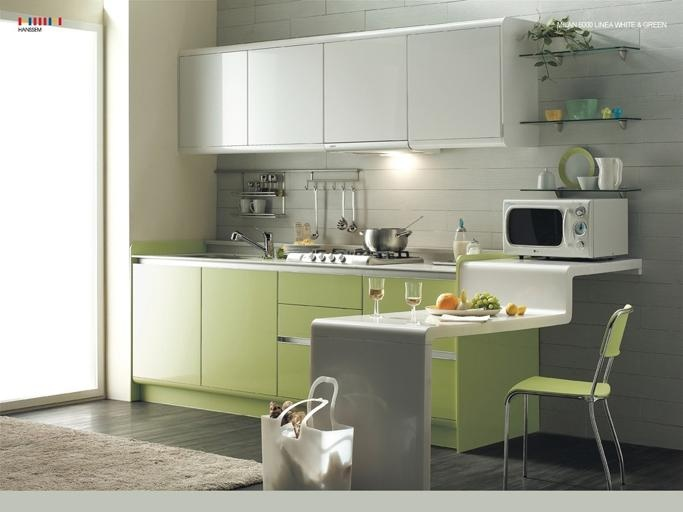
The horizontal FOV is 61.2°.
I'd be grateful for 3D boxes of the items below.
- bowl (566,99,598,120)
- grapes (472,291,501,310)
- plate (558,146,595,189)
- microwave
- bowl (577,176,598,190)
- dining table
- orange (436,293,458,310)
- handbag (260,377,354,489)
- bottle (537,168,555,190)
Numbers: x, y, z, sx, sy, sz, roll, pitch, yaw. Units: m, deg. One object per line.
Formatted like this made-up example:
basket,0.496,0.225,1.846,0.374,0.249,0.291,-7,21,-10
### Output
bowl,1.796,-1.068,4.322,0.195,0.110,0.190,1,4,0
grapes,0.777,0.241,3.080,0.106,0.059,0.102,7,-7,12
plate,1.773,-0.671,4.400,0.301,0.293,0.045,16,16,38
microwave,1.591,-0.199,4.022,0.885,0.420,0.399,1,0,7
bowl,1.805,-0.528,4.202,0.119,0.064,0.112,1,2,0
dining table,0.650,0.562,3.216,0.795,1.081,1.521,0,-1,42
orange,0.563,0.240,3.052,0.093,0.080,0.089,9,21,28
handbag,-0.102,0.819,2.601,0.442,0.348,0.575,1,0,-28
bottle,1.545,-0.572,4.345,0.162,0.156,0.147,2,-2,-14
